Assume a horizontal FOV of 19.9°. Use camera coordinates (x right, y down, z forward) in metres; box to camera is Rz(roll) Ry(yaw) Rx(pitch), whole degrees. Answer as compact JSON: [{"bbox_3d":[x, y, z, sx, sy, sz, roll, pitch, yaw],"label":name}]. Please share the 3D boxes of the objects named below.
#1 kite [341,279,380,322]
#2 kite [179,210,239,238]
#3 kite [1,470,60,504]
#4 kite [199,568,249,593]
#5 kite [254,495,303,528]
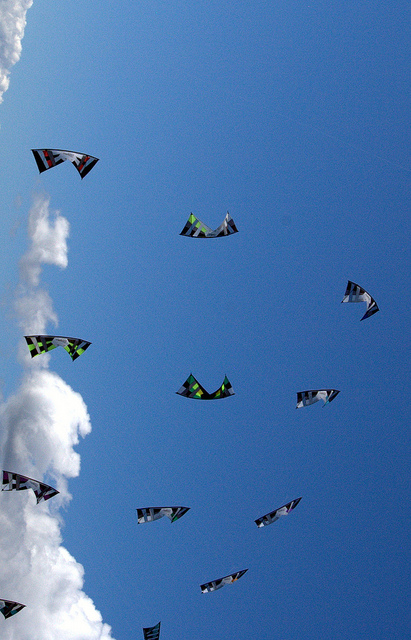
[{"bbox_3d":[2.554,-0.315,18.973,0.698,0.286,0.719,-8,31,17],"label":"kite"},{"bbox_3d":[0.124,-1.541,19.111,0.962,0.444,0.200,0,16,-1],"label":"kite"},{"bbox_3d":[-2.935,2.819,19.598,0.971,0.660,0.439,3,16,10],"label":"kite"},{"bbox_3d":[0.348,4.354,19.676,0.651,0.197,0.186,-15,45,-15],"label":"kite"},{"bbox_3d":[1.266,3.172,19.582,0.615,0.203,0.150,-32,30,-4],"label":"kite"}]
